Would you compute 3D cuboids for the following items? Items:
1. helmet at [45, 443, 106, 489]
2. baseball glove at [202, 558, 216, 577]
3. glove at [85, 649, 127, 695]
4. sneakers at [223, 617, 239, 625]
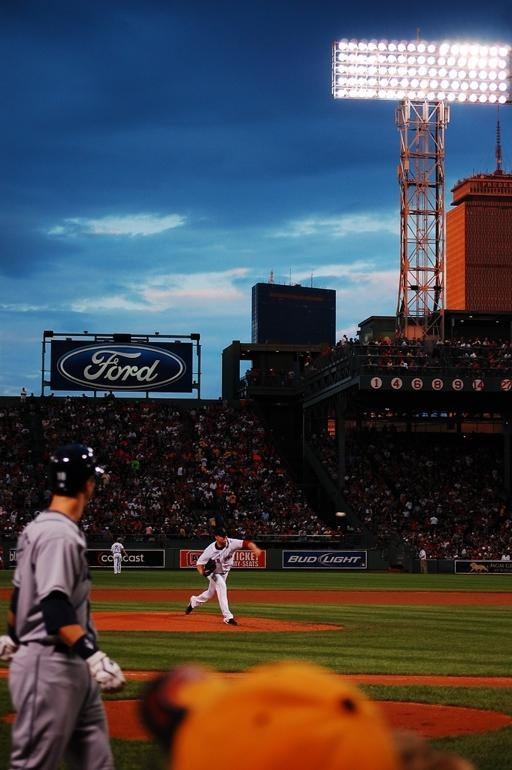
[{"bbox_3d":[-0.821,0.384,5.354,0.192,0.207,0.229,-2,-28,0],"label":"helmet"},{"bbox_3d":[-0.625,2.345,15.151,0.165,0.202,0.167,22,-47,-12],"label":"baseball glove"},{"bbox_3d":[-0.659,1.207,5.036,0.131,0.088,0.202,5,14,-14],"label":"glove"},{"bbox_3d":[-0.388,3.181,15.979,0.266,0.107,0.097,-3,-2,37],"label":"sneakers"}]
